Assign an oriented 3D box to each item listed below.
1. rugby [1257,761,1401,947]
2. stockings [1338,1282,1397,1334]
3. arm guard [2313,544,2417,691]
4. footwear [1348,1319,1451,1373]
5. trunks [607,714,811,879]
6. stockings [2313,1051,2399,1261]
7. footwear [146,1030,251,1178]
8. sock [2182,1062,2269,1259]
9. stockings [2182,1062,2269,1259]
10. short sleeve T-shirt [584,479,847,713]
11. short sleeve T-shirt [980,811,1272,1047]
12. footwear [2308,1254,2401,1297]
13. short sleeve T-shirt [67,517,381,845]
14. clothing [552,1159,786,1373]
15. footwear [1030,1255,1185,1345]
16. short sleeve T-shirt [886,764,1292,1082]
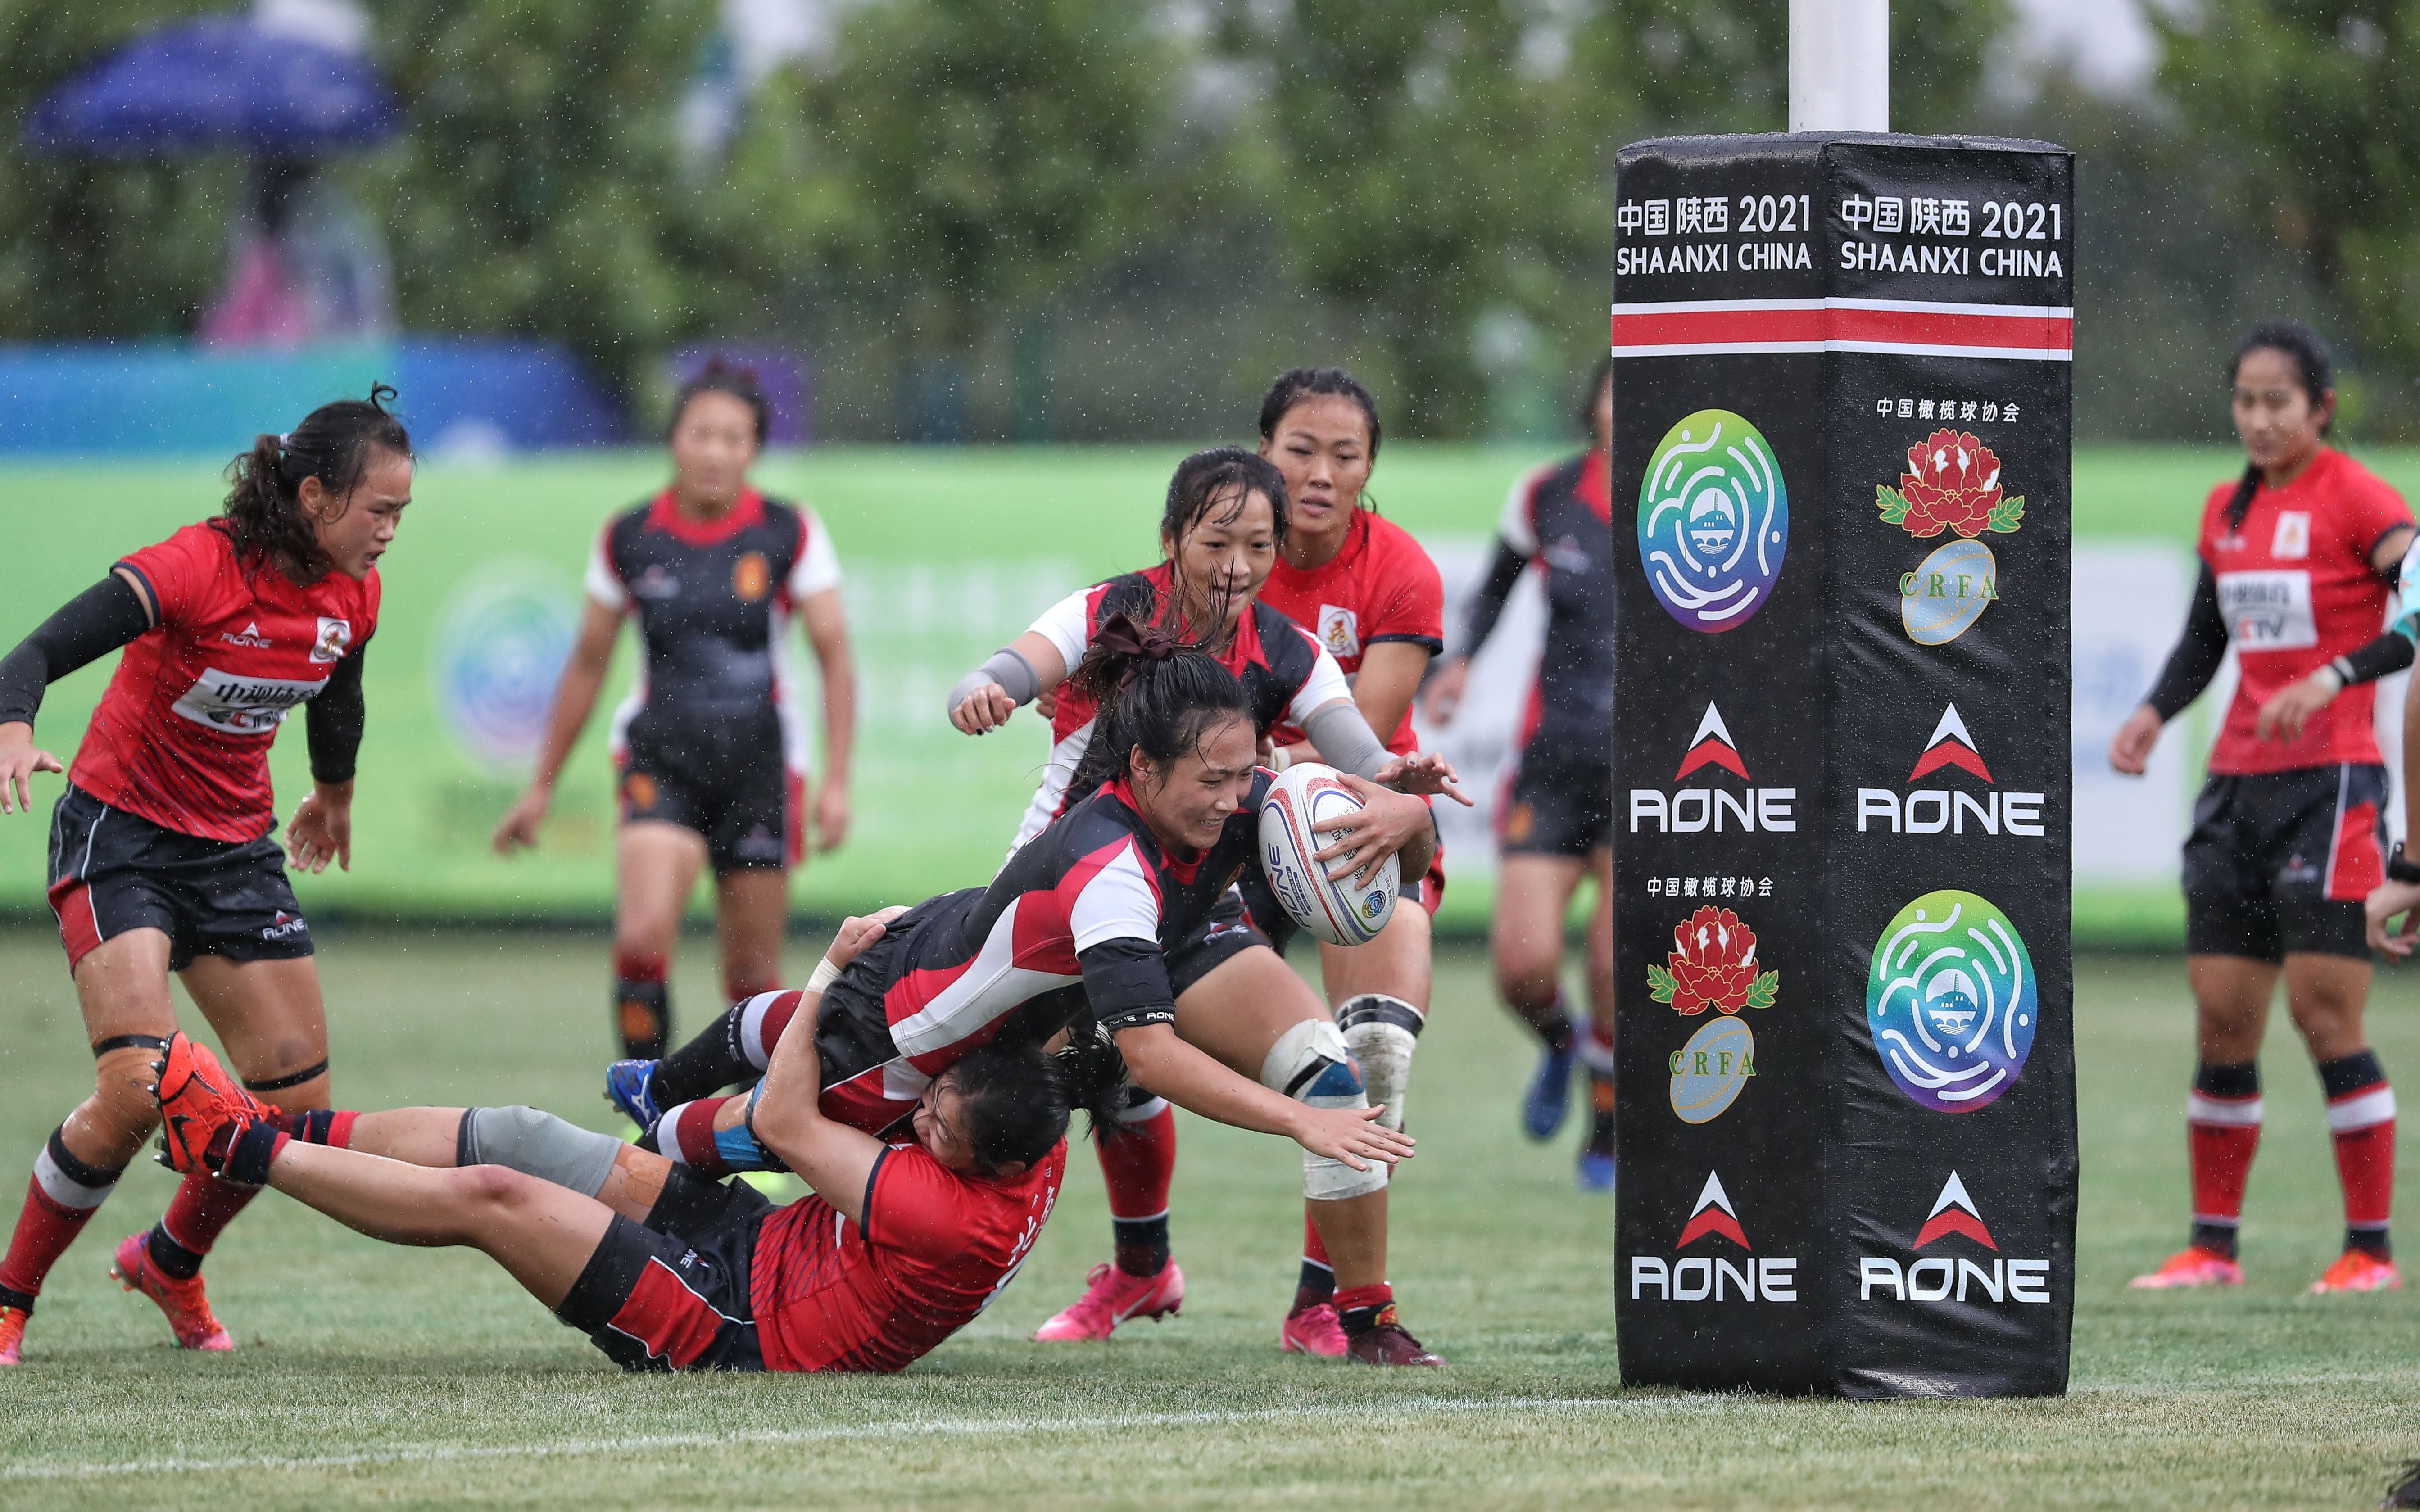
[{"bbox_3d":[0.352,0.365,11.284,0.334,0.574,0.414,-34,-4,-2],"label":"rugby"},{"bbox_3d":[0.532,1.878,11.658,0.185,0.155,0.165,1,-13,-7],"label":"stockings"},{"bbox_3d":[4.312,-0.535,12.892,0.279,0.509,0.138,17,-9,16],"label":"arm guard"},{"bbox_3d":[0.635,1.990,11.597,0.333,0.145,0.137,2,2,22],"label":"footwear"},{"bbox_3d":[-2.069,0.163,14.221,0.927,0.898,0.576,3,-11,-25],"label":"trunks"},{"bbox_3d":[4.288,1.490,12.934,0.257,0.744,0.313,2,7,10],"label":"stockings"},{"bbox_3d":[-3.247,1.123,11.178,0.279,0.575,0.218,3,19,27],"label":"footwear"},{"bbox_3d":[3.810,1.541,13.016,0.236,0.751,0.334,3,7,16],"label":"sock"},{"bbox_3d":[3.810,1.541,13.016,0.236,0.751,0.334,3,7,16],"label":"stockings"},{"bbox_3d":[-2.089,-0.575,14.497,1.100,1.122,0.593,-1,2,-5],"label":"short sleeve T-shirt"},{"bbox_3d":[-0.390,0.508,11.099,1.001,0.849,0.608,0,7,-7],"label":"short sleeve T-shirt"},{"bbox_3d":[4.255,1.916,12.829,0.331,0.137,0.345,3,7,17],"label":"footwear"},{"bbox_3d":[-3.401,-0.337,11.866,0.579,1.112,1.088,27,14,30],"label":"short sleeve T-shirt"},{"bbox_3d":[-1.764,1.695,11.195,0.719,0.456,0.244,39,-27,-5],"label":"clothing"},{"bbox_3d":[-0.331,1.881,12.089,0.596,0.280,0.214,-12,11,-14],"label":"footwear"},{"bbox_3d":[-0.423,0.726,11.156,1.022,0.420,0.932,-33,-11,29],"label":"short sleeve T-shirt"}]
